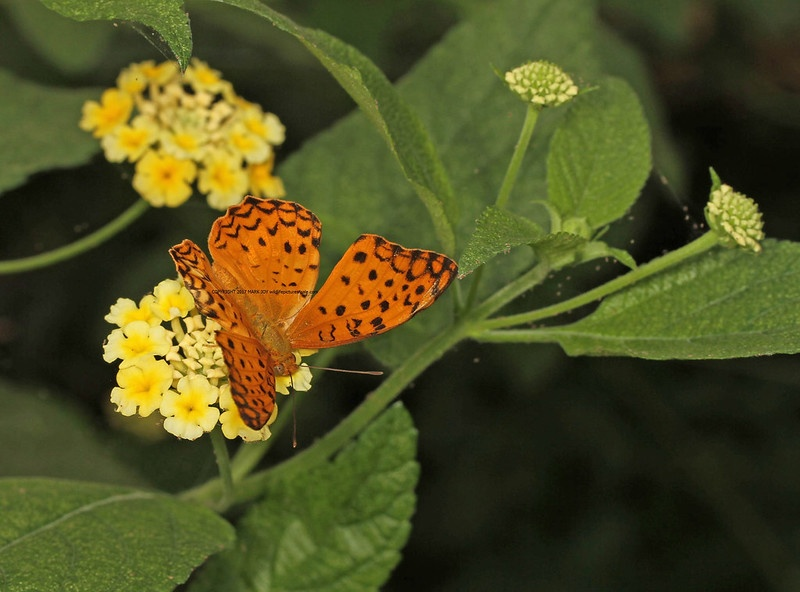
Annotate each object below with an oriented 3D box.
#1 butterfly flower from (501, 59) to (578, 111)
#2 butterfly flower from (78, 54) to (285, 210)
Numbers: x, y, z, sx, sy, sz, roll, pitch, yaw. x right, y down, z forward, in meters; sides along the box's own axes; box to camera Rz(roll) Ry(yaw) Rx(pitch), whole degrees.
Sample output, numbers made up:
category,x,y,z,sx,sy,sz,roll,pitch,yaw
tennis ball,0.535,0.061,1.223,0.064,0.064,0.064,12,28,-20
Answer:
category,x,y,z,sx,sy,sz,roll,pitch,yaw
butterfly flower,0.180,-0.265,1.193,0.090,0.054,0.087,19,45,6
butterfly flower,-0.313,-0.226,1.409,0.297,0.194,0.242,4,46,-10
